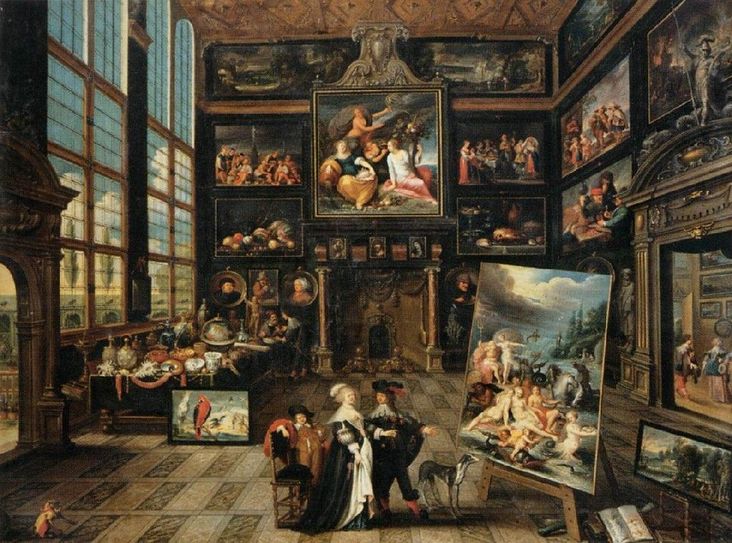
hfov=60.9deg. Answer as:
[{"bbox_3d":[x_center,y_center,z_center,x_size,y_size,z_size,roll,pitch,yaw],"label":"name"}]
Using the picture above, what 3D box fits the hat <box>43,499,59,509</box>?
[{"bbox_3d":[-3.732,2.726,7.368,0.186,0.133,0.152,-2,5,-23],"label":"hat"}]
